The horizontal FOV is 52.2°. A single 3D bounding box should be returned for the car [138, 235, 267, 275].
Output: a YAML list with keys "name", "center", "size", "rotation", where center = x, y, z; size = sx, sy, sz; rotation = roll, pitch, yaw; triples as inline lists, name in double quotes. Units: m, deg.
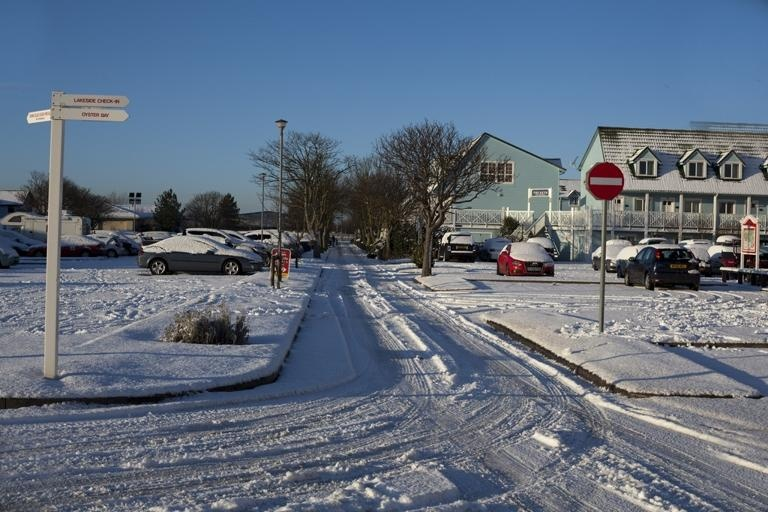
- name: "car"
  center: [-6.903, 0.056, 29.565]
  size: [3.572, 1.143, 1.814]
  rotation: [0, 1, -6]

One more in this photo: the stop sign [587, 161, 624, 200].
- name: "stop sign"
  center: [4.389, -1.483, 15.631]
  size: [0.691, 0.745, 0.486]
  rotation: [2, 6, 13]

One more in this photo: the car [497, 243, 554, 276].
- name: "car"
  center: [5.642, 0.156, 31.239]
  size: [2.123, 1.285, 1.420]
  rotation: [2, 6, 9]

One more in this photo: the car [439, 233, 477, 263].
- name: "car"
  center: [4.252, -0.426, 45.123]
  size: [1.521, 1.287, 3.560]
  rotation: [0, 4, -3]

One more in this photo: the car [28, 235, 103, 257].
- name: "car"
  center: [-14.344, -0.419, 35.737]
  size: [2.771, 0.916, 1.356]
  rotation: [2, 0, -12]
